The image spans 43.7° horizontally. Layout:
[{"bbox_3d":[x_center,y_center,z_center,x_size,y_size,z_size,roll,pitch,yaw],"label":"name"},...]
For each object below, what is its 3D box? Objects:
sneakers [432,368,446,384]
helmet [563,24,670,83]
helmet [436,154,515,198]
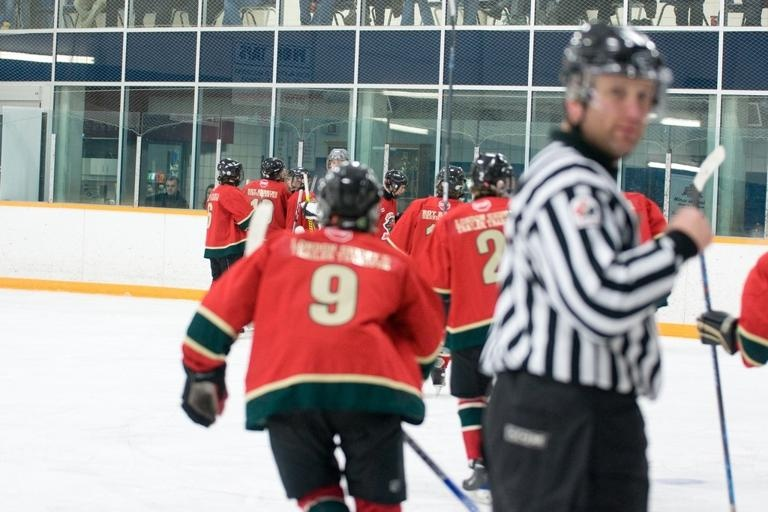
[{"bbox_3d":[0.495,1.114,8.805,0.124,0.154,0.148,0,-4,-3],"label":"sneakers"},{"bbox_3d":[1.114,-0.966,4.664,0.388,0.219,0.304,12,6,15],"label":"helmet"},{"bbox_3d":[0.676,-0.576,7.059,0.550,0.295,0.461,-2,3,7],"label":"helmet"}]
